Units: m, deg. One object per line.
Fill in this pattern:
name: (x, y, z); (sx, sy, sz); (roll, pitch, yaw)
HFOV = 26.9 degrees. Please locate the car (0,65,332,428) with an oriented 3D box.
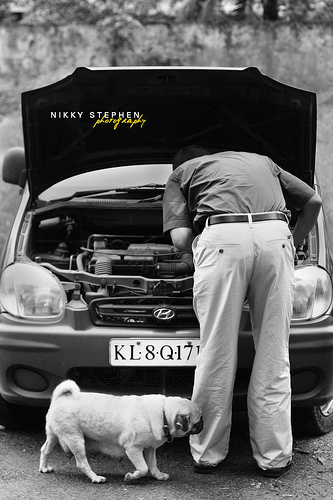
car: (-0.019, -0.261, 4.533); (1.823, 1.474, 2.699); (0, 10, 2)

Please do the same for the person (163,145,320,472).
person: (0.325, 0.290, 3.402); (0.597, 1.298, 0.971); (-4, 28, 0)

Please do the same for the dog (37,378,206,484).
dog: (-0.201, 0.824, 3.168); (0.796, 0.402, 0.262); (0, -1, 3)

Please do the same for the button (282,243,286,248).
button: (0.550, -0.026, 3.284); (0.015, 0.017, 0.005); (-2, 0, -6)
